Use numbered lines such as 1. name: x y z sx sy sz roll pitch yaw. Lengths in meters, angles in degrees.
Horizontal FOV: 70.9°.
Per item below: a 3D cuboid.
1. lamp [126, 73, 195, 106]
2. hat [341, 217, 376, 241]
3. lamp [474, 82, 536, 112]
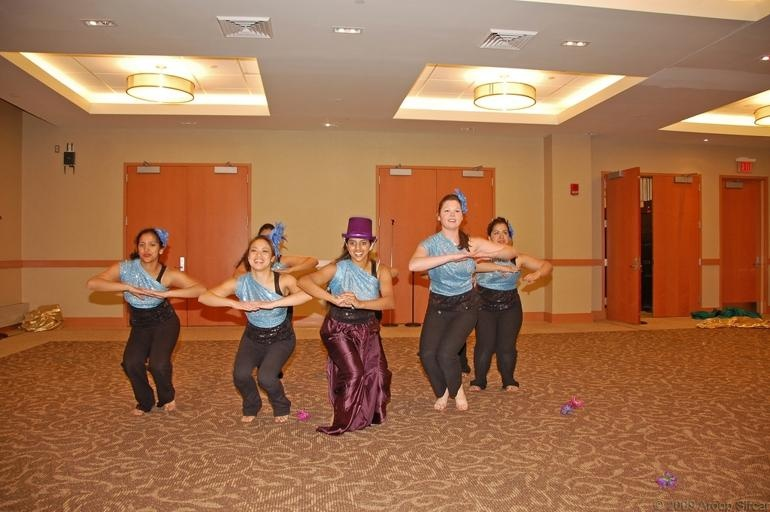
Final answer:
1. lamp: -3.727 -2.749 8.863 0.644 0.137 0.633 1 3 28
2. hat: -0.266 -0.299 6.134 0.298 0.184 0.347 6 2 2
3. lamp: 1.995 -2.725 9.215 0.639 0.143 0.640 0 0 39
